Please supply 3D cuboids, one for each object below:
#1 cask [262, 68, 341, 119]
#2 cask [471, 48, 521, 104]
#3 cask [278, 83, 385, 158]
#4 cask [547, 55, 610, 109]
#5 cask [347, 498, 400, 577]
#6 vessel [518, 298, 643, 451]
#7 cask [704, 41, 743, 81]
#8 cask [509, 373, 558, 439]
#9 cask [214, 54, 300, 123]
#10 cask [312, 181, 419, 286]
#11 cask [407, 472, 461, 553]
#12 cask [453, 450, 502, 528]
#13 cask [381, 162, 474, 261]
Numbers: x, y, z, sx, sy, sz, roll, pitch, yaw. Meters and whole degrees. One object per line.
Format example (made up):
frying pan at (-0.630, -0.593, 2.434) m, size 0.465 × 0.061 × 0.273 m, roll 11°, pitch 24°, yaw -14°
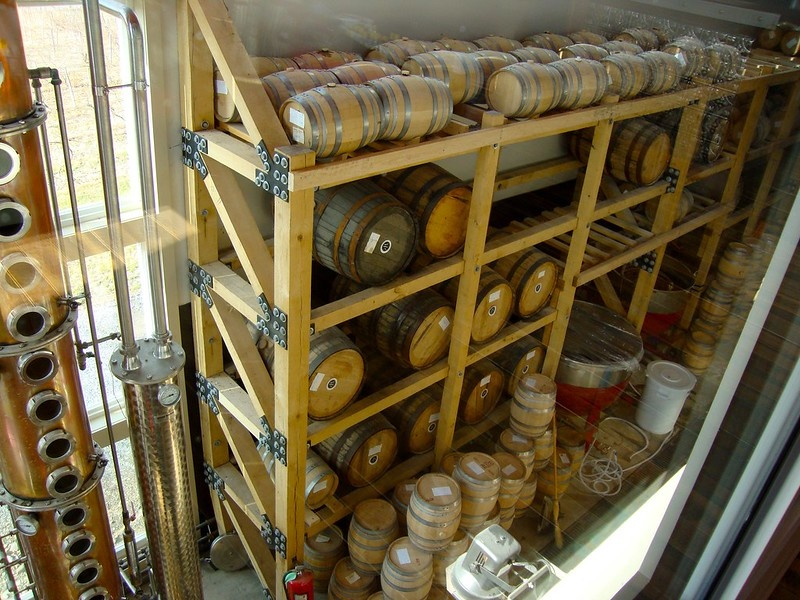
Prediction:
cask at (-0.506, -1.042, 3.019) m, size 0.339 × 0.250 × 0.279 m, roll -3°, pitch 10°, yaw -9°
cask at (0.516, -1.250, 3.461) m, size 0.174 × 0.196 × 0.256 m, roll 23°, pitch 40°, yaw 14°
cask at (-0.364, -0.913, 3.040) m, size 0.503 × 0.377 × 0.396 m, roll -16°, pitch 6°, yaw -28°
cask at (1.037, -1.257, 3.648) m, size 0.320 × 0.271 × 0.241 m, roll -5°, pitch 41°, yaw -29°
cask at (-0.196, 1.587, 4.022) m, size 0.270 × 0.304 × 0.271 m, roll 6°, pitch 7°, yaw -37°
vessel at (0.813, 0.276, 2.606) m, size 0.418 × 0.448 × 0.471 m, roll 19°, pitch -1°, yaw -9°
cask at (0.909, -0.661, 1.741) m, size 0.084 × 0.093 × 0.201 m, roll -5°, pitch 9°, yaw 27°
cask at (0.674, 0.554, 3.124) m, size 0.195 × 0.285 × 0.194 m, roll -1°, pitch 18°, yaw -22°
cask at (-0.742, -1.120, 3.264) m, size 0.468 × 0.337 × 0.345 m, roll -24°, pitch 56°, yaw -40°
cask at (-0.192, -0.333, 3.760) m, size 0.533 × 0.627 × 0.725 m, roll 4°, pitch 18°, yaw -37°
cask at (0.182, 1.142, 3.324) m, size 0.253 × 0.377 × 0.278 m, roll 6°, pitch 31°, yaw 0°
cask at (0.392, 0.948, 3.146) m, size 0.241 × 0.261 × 0.246 m, roll -16°, pitch 43°, yaw -26°
cask at (0.268, -0.627, 4.019) m, size 0.502 × 0.588 × 0.733 m, roll -19°, pitch 34°, yaw -17°
